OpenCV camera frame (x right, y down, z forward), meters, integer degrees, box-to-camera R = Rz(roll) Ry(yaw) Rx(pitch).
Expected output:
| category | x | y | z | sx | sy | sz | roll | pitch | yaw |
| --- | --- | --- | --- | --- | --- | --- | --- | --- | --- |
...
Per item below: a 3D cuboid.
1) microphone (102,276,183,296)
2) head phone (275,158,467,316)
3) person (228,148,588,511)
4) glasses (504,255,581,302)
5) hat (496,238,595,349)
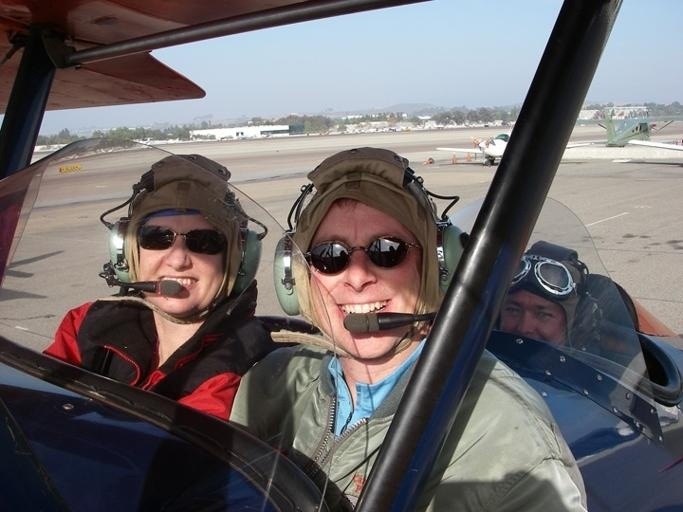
| category | x | y | z | sx | sy | sz | roll | pitch | yaw |
| --- | --- | --- | --- | --- | --- | --- | --- | --- | --- |
| microphone | -0.429 | 0.060 | 1.142 | 0.196 | 0.041 | 0.026 | 9 | 12 | 25 |
| head phone | 0.084 | -0.049 | 1.558 | 0.582 | 0.422 | 0.237 | -5 | -5 | 15 |
| person | 0.186 | 0.125 | 1.328 | 0.757 | 0.784 | 0.728 | 6 | 11 | 1 |
| glasses | 0.622 | 0.066 | 1.605 | 0.226 | 0.203 | 0.068 | 7 | 54 | 30 |
| hat | 0.613 | 0.118 | 1.776 | 0.342 | 0.379 | 0.372 | 3 | 24 | 16 |
